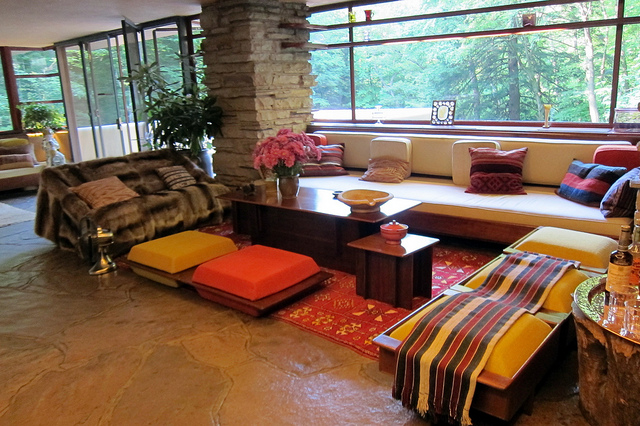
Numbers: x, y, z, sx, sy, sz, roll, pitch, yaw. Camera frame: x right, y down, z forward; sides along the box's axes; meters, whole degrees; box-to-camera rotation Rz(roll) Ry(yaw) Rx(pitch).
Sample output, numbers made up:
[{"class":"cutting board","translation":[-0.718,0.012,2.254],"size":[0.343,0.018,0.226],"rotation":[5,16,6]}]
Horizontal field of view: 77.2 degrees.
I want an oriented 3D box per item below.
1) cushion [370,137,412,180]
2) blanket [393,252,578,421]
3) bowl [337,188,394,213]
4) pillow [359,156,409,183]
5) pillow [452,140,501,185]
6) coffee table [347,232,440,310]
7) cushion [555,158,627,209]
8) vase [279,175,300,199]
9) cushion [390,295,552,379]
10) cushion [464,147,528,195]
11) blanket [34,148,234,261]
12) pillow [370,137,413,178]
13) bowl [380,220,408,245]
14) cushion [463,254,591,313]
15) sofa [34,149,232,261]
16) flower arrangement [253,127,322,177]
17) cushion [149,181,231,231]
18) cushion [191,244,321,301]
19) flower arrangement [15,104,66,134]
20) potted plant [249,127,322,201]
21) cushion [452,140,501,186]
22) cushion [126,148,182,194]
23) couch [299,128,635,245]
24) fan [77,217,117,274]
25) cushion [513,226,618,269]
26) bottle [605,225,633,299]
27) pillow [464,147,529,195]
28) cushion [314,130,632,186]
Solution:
[{"class":"cushion","translation":[0.966,-0.711,5.302],"size":[0.760,0.484,0.233],"rotation":[7,13,32]},{"class":"blanket","translation":[1.080,0.786,2.516],"size":[1.207,0.231,0.364],"rotation":[-19,26,-38]},{"class":"bowl","translation":[0.418,-0.124,3.936],"size":[0.470,0.157,0.435],"rotation":[-2,15,1]},{"class":"pillow","translation":[0.831,-0.562,5.280],"size":[0.542,0.130,0.441],"rotation":[11,44,35]},{"class":"pillow","translation":[1.864,-0.601,4.702],"size":[0.692,0.504,0.230],"rotation":[8,17,44]},{"class":"coffee table","translation":[0.626,0.474,3.765],"size":[0.837,0.511,0.798],"rotation":[8,14,37]},{"class":"cushion","translation":[2.782,-0.330,4.137],"size":[0.424,0.325,0.625],"rotation":[-15,21,2]},{"class":"vase","translation":[-0.344,-0.295,4.503],"size":[0.293,0.233,0.276],"rotation":[-3,5,-35]},{"class":"cushion","translation":[0.935,0.726,2.408],"size":[0.521,0.092,0.530],"rotation":[8,14,39]},{"class":"cushion","translation":[2.044,-0.475,4.570],"size":[0.809,0.478,0.254],"rotation":[2,-8,17]},{"class":"blanket","translation":[-2.364,-0.202,5.017],"size":[1.867,0.814,2.366],"rotation":[16,22,42]},{"class":"pillow","translation":[0.967,-0.724,5.308],"size":[0.767,0.488,0.237],"rotation":[5,7,34]},{"class":"bowl","translation":[0.634,0.168,3.411],"size":[0.252,0.134,0.204],"rotation":[1,7,5]},{"class":"cushion","translation":[1.464,0.497,2.858],"size":[0.543,0.087,0.441],"rotation":[6,13,32]},{"class":"sofa","translation":[-2.339,-0.254,5.236],"size":[1.206,0.705,2.070],"rotation":[28,30,28]},{"class":"flower arrangement","translation":[-0.383,-0.716,4.522],"size":[0.745,0.436,0.629],"rotation":[-7,17,-20]},{"class":"cushion","translation":[-1.653,-0.107,5.331],"size":[1.004,0.250,0.690],"rotation":[-11,18,-43]},{"class":"cushion","translation":[-0.665,0.497,3.531],"size":[0.649,0.096,0.645],"rotation":[7,13,35]},{"class":"flower arrangement","translation":[-6.441,-2.241,9.262],"size":[0.755,0.355,0.707],"rotation":[4,-7,36]},{"class":"potted plant","translation":[-0.363,-0.532,4.404],"size":[0.733,0.750,0.419],"rotation":[-4,20,-2]},{"class":"cushion","translation":[1.811,-0.624,5.027],"size":[0.794,0.525,0.259],"rotation":[-6,9,-30]},{"class":"cushion","translation":[-2.307,-0.633,5.622],"size":[0.798,0.294,0.664],"rotation":[-10,54,-30]},{"class":"couch","translation":[1.646,-0.368,4.732],"size":[3.432,1.037,1.525],"rotation":[11,22,41]},{"class":"fan","translation":[-2.444,0.332,4.383],"size":[0.348,0.552,0.533],"rotation":[-15,21,-28]},{"class":"cushion","translation":[2.136,0.232,3.352],"size":[0.521,0.090,0.468],"rotation":[11,21,37]},{"class":"bottle","translation":[1.673,0.285,2.216],"size":[0.111,0.417,0.184],"rotation":[7,23,27]},{"class":"pillow","translation":[1.987,-0.498,4.661],"size":[0.896,0.521,0.274],"rotation":[-1,10,-11]},{"class":"cushion","translation":[1.495,-0.689,5.468],"size":[2.588,0.417,0.474],"rotation":[3,21,-4]}]
